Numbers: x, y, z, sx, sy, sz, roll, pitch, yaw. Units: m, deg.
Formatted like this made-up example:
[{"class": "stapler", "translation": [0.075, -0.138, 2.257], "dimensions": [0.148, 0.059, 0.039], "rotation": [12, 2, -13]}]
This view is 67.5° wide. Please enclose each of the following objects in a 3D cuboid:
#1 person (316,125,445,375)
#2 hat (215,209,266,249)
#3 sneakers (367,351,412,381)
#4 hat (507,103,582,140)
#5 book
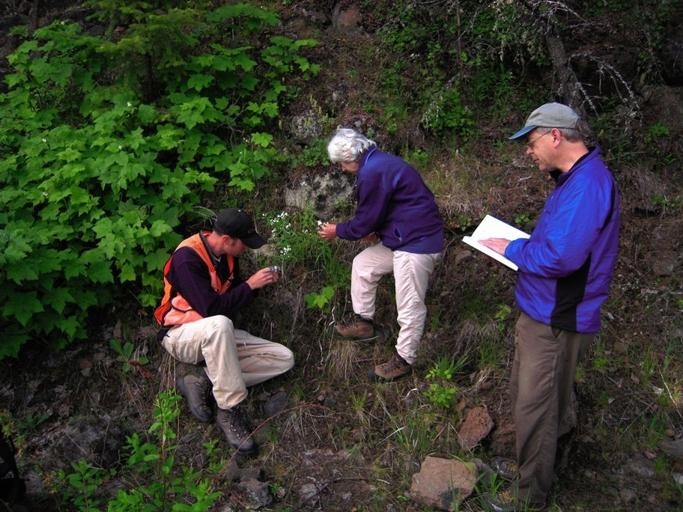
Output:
[{"class": "person", "translation": [0.470, 0.009, 5.658], "dimensions": [1.161, 2.648, 0.891], "rotation": [9, 30, 25]}, {"class": "hat", "translation": [-1.073, -0.285, 5.472], "dimensions": [0.512, 0.293, 0.347], "rotation": [30, 29, -12]}, {"class": "sneakers", "translation": [0.573, 1.298, 5.854], "dimensions": [0.532, 0.239, 0.237], "rotation": [-21, 71, 11]}, {"class": "hat", "translation": [1.862, -1.188, 4.633], "dimensions": [0.485, 0.288, 0.333], "rotation": [3, 15, 21]}, {"class": "book", "translation": [1.522, -0.194, 5.102], "dimensions": [0.533, 0.135, 0.545], "rotation": [30, 60, 18]}]
